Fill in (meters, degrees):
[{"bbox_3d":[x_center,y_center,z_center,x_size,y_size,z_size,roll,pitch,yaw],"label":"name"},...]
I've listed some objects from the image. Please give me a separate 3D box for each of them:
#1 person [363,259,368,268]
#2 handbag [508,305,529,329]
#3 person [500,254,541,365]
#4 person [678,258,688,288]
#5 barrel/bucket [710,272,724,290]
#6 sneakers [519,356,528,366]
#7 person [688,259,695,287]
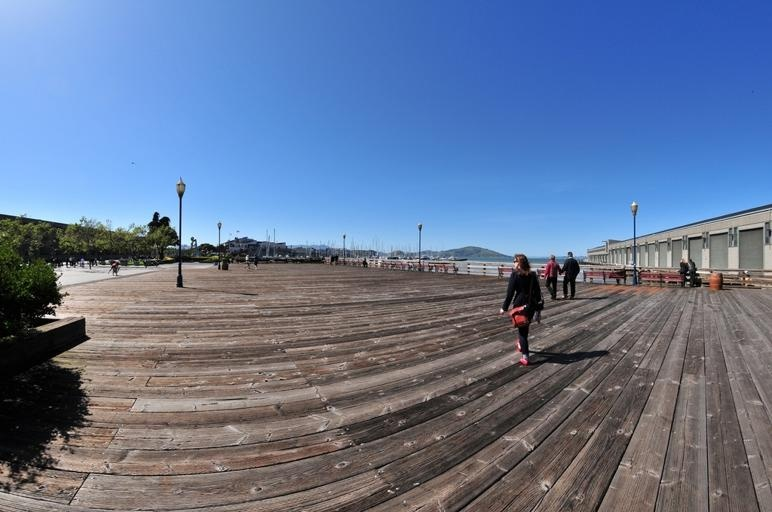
[{"bbox_3d":[-2.320,0.761,44.990,0.609,1.047,0.585,3,44,2],"label":"person"},{"bbox_3d":[2.293,1.035,7.275,0.311,0.366,0.171,2,5,19],"label":"handbag"},{"bbox_3d":[2.503,0.856,7.760,0.679,1.873,1.498,2,5,17],"label":"person"},{"bbox_3d":[14.581,0.828,20.643,0.346,1.310,0.722,4,6,37],"label":"person"},{"bbox_3d":[15.014,1.139,19.150,0.411,0.686,0.482,3,6,29],"label":"barrel/bucket"},{"bbox_3d":[2.339,1.787,7.190,0.094,0.102,0.153,-1,-8,-6],"label":"sneakers"},{"bbox_3d":[14.982,0.887,20.651,0.323,1.139,0.688,4,6,33],"label":"person"}]
